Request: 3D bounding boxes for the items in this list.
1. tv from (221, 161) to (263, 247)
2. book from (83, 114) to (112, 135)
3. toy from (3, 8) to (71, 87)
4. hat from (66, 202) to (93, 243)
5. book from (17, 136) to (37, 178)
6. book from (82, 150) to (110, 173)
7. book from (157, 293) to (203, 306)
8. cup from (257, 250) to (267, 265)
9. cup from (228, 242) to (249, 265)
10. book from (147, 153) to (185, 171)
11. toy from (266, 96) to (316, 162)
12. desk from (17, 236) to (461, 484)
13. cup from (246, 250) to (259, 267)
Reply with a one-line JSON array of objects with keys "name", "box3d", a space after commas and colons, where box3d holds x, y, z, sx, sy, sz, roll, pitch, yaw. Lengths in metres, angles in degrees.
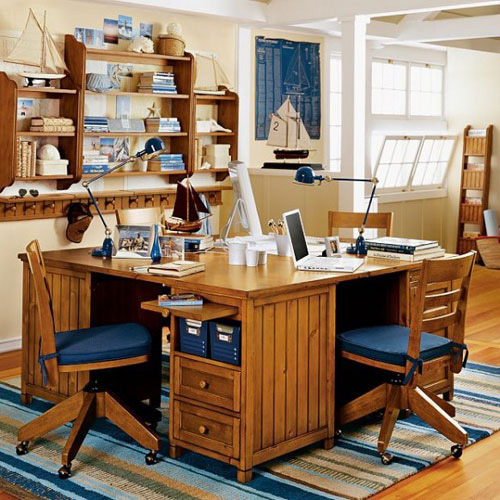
[{"name": "tv", "box3d": [-0.046, -0.284, 3.027, 0.234, 0.492, 0.318, 1, 13, 1]}, {"name": "book", "box3d": [-1.240, -0.965, 4.011, 0.148, 0.108, 0.210, -8, 13, -35]}, {"name": "toy", "box3d": [-1.504, -1.438, 3.513, 0.414, 0.503, 0.511, -4, 14, -19]}, {"name": "hat", "box3d": [-1.348, -0.217, 3.910, 0.197, 0.318, 0.175, 9, 14, 25]}, {"name": "book", "box3d": [-1.595, -0.665, 3.593, 0.097, 0.268, 0.198, 0, 13, -4]}, {"name": "book", "box3d": [-1.246, -0.699, 4.050, 0.168, 0.116, 0.233, -7, 12, -37]}, {"name": "book", "box3d": [-0.261, 0.190, 1.891, 0.170, 0.036, 0.174, -1, 14, -6]}, {"name": "cup", "box3d": [0.050, 0.037, 2.365, 0.055, 0.061, 0.055, 0, 9, 0]}, {"name": "cup", "box3d": [-0.062, 0.016, 2.387, 0.103, 0.101, 0.083, 2, 3, 18]}, {"name": "book", "box3d": [-0.755, -0.779, 4.524, 0.187, 0.124, 0.248, -4, 7, -36]}, {"name": "toy", "box3d": [0.358, -1.128, 4.786, 0.404, 0.559, 0.631, 1, 13, 2]}, {"name": "desk", "box3d": [0.131, 0.439, 2.055, 1.716, 0.811, 1.048, -6, 7, -44]}, {"name": "cup", "box3d": [0.006, 0.039, 2.320, 0.069, 0.075, 0.060, 3, 6, 19]}]
